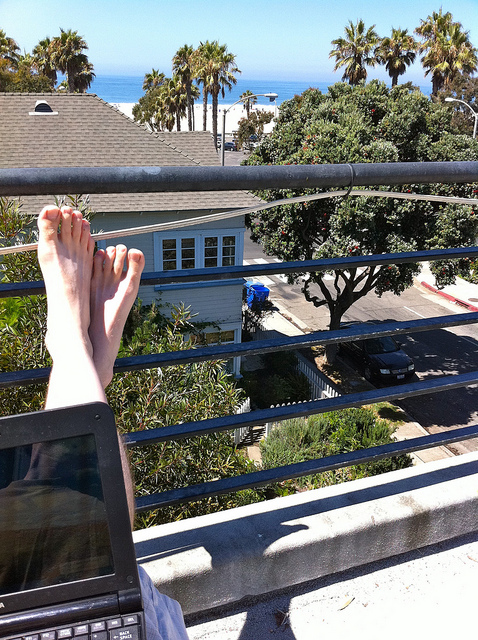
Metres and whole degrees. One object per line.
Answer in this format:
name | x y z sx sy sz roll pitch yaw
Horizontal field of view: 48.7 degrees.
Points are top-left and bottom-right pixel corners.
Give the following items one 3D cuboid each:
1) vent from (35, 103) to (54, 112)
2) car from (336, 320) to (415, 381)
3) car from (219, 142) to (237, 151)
vent | -5.462 -5.937 14.754 0.276 0.114 0.277 -2 39 -21
car | 3.017 0.887 11.960 1.210 0.884 2.627 -9 19 -13
car | -0.996 -21.208 64.505 1.223 0.938 2.293 1 16 0
